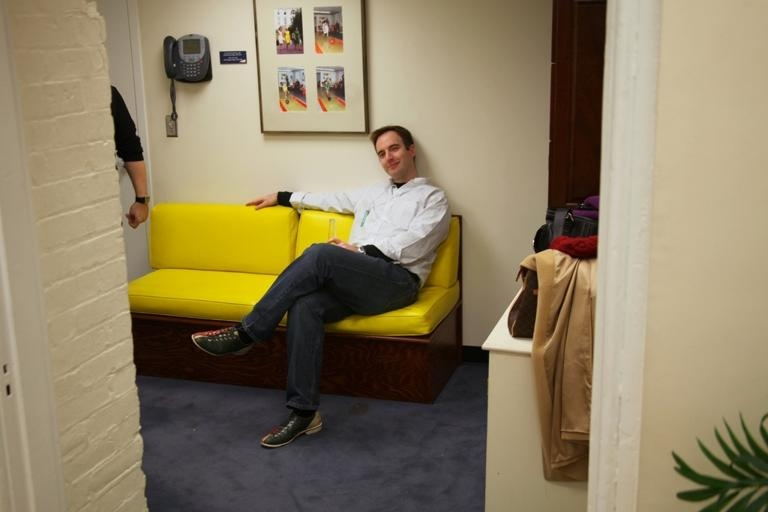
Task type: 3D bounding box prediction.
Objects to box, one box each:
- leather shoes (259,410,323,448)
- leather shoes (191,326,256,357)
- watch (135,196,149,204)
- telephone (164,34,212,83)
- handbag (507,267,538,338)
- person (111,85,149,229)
[{"bbox_3d":[-0.458,0.864,3.002,0.367,0.160,0.123,-11,12,-37],"label":"leather shoes"},{"bbox_3d":[-0.841,0.457,3.126,0.385,0.175,0.144,4,18,-13],"label":"leather shoes"},{"bbox_3d":[-1.423,-0.334,3.370,0.051,0.032,0.055,4,9,13],"label":"watch"},{"bbox_3d":[-1.319,-1.337,3.867,0.317,0.310,0.089,4,18,13],"label":"telephone"},{"bbox_3d":[0.601,0.200,2.433,0.149,0.342,0.242,1,7,10],"label":"handbag"},{"bbox_3d":[-1.432,-0.530,3.260,0.143,0.838,0.388,-8,19,-23],"label":"person"}]
